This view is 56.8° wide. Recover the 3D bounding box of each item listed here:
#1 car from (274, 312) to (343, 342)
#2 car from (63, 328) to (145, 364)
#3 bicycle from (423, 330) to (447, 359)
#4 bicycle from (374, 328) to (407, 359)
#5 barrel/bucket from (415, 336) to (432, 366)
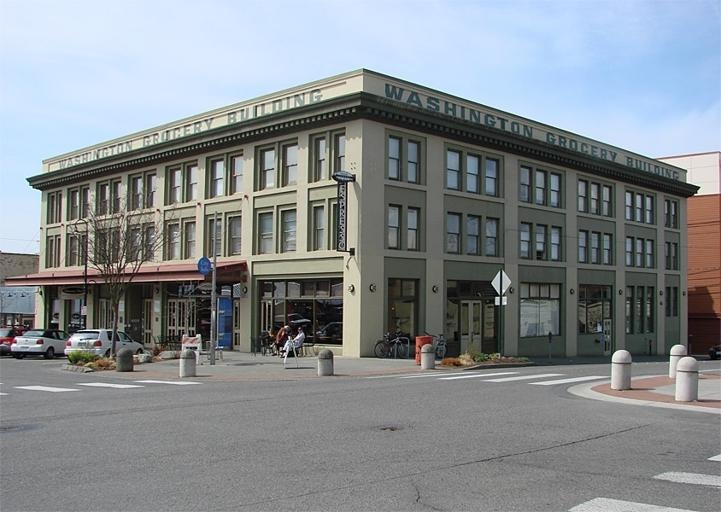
[{"bbox_3d":[-2.259,3.738,34.846,2.561,1.226,1.603,-3,-4,33],"label":"car"},{"bbox_3d":[-12.579,4.116,32.193,3.274,1.543,5.237,3,-11,-16],"label":"car"},{"bbox_3d":[3.964,4.528,33.874,1.793,1.150,1.100,10,-16,-39],"label":"bicycle"},{"bbox_3d":[1.603,4.461,33.444,1.668,1.140,0.923,-3,-4,11],"label":"bicycle"},{"bbox_3d":[2.738,4.061,28.915,0.644,1.297,1.880,0,-10,2],"label":"barrel/bucket"}]
